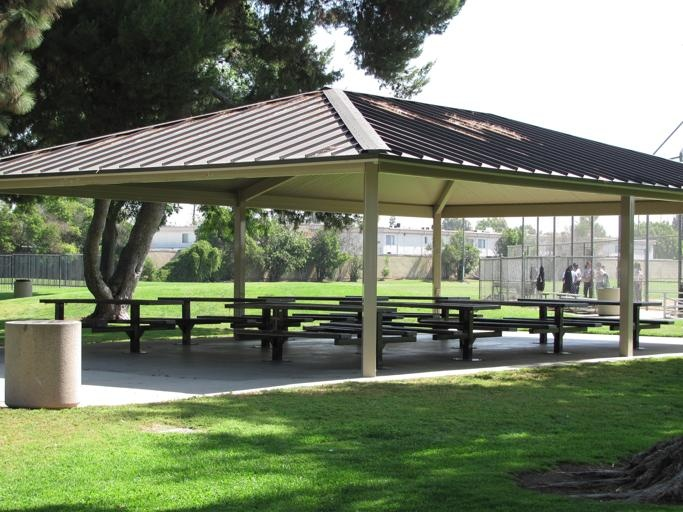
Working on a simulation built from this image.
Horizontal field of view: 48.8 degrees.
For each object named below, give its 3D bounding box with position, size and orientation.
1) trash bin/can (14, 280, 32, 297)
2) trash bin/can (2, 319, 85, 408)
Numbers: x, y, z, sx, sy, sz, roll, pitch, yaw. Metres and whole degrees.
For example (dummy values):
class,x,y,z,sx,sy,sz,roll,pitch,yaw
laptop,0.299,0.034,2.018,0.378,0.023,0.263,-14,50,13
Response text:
class,x,y,z,sx,sy,sz,roll,pitch,yaw
trash bin/can,-14.585,1.477,34.530,0.814,0.860,0.787,-1,-3,-15
trash bin/can,-3.419,1.317,9.386,1.026,1.090,0.998,-1,-4,1
